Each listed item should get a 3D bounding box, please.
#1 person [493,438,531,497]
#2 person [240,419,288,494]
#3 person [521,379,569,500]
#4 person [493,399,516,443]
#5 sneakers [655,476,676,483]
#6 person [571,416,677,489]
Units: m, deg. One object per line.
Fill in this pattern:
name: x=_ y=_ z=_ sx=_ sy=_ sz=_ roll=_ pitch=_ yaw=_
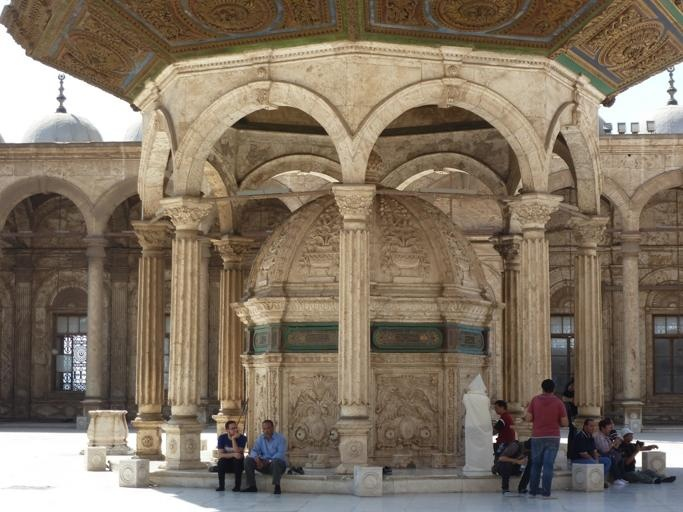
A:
person: x=2.592 y=3.182 z=21.136 sx=0.683 sy=0.796 sz=0.510 roll=5 pitch=-6 yaw=29
person: x=-1.181 y=3.055 z=21.093 sx=0.636 sy=1.134 sz=0.420 roll=-3 pitch=-13 yaw=10
person: x=2.976 y=2.804 z=20.516 sx=0.644 sy=1.510 sz=0.449 roll=-9 pitch=-16 yaw=32
person: x=2.506 y=2.594 z=21.681 sx=0.320 sy=0.694 sz=0.420 roll=-2 pitch=-13 yaw=6
sneakers: x=5.080 y=3.529 z=21.938 sx=0.275 sy=0.098 sz=0.281 roll=-4 pitch=-12 yaw=17
person: x=4.194 y=3.092 z=21.860 sx=1.930 sy=0.899 sz=0.864 roll=2 pitch=-9 yaw=-3
